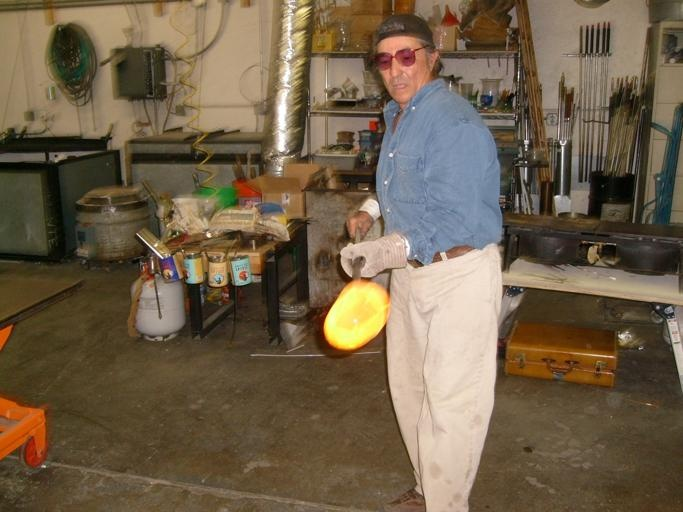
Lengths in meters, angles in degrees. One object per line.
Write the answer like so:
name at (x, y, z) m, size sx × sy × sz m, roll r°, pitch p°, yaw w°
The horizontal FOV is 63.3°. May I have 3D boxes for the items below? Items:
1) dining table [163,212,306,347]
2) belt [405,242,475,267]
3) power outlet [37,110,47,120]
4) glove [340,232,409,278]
dining table at (-0.928, 0.193, 5.551) m, size 1.177 × 1.086 × 1.400 m, roll 0°, pitch 12°, yaw 3°
belt at (0.488, 0.009, 2.753) m, size 0.325 × 0.131 × 0.060 m, roll 3°, pitch 13°, yaw 17°
power outlet at (-5.009, -2.373, 9.354) m, size 0.136 × 0.121 × 0.032 m, roll -2°, pitch -2°, yaw 6°
glove at (0.167, 0.013, 2.663) m, size 0.309 × 0.176 × 0.126 m, roll -6°, pitch -19°, yaw -10°
